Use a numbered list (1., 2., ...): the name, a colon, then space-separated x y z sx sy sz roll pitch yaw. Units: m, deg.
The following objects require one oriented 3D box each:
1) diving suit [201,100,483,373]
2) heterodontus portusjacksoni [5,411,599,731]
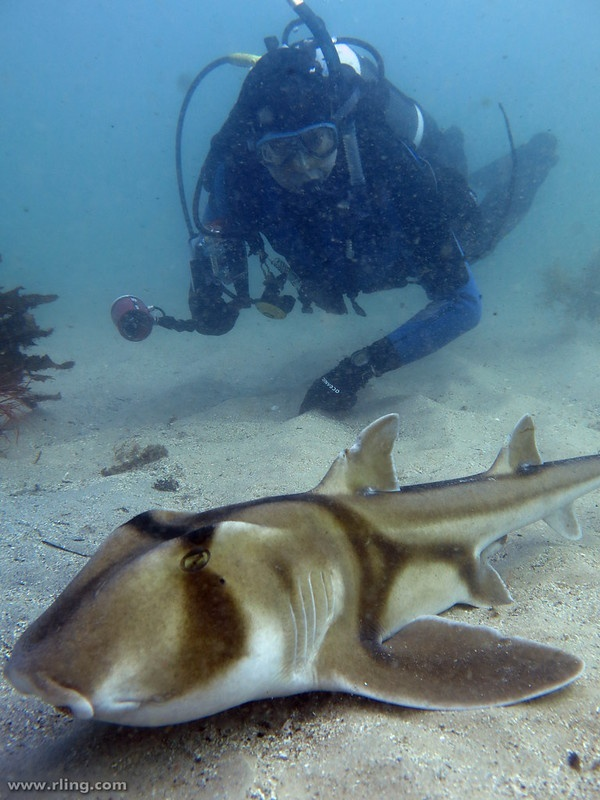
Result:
1. diving suit: 0.377 -1.210 5.729 1.819 1.016 2.271 -12 -37 18
2. heterodontus portusjacksoni: 0.114 0.447 2.573 0.862 0.327 1.641 6 10 42
